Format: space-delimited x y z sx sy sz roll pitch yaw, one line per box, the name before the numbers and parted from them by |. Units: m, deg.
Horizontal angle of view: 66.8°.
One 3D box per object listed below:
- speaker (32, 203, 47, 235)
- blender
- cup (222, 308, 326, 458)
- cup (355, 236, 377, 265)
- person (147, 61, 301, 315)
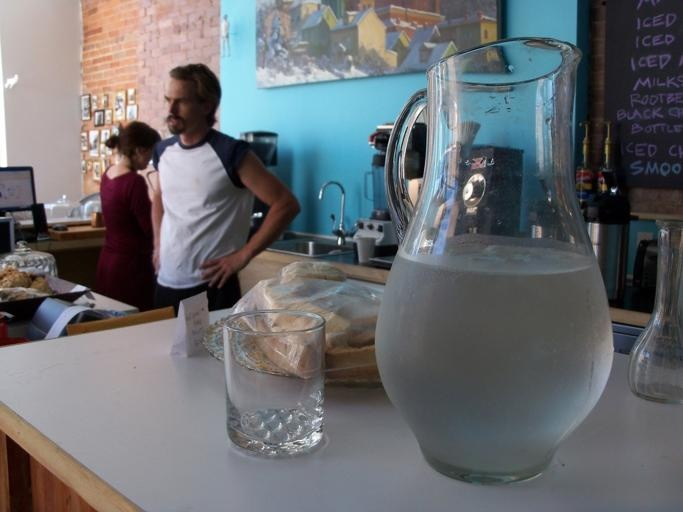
speaker | -2.094 -0.245 3.601 0.085 0.236 0.244 -6 11 -31
blender | 0.278 -0.345 2.968 0.376 0.702 0.350 12 11 30
cup | -0.076 0.160 0.684 0.141 0.164 0.145 0 4 0
cup | 0.124 -0.028 2.785 0.110 0.130 0.114 0 10 0
person | -0.567 -0.294 2.279 0.697 1.085 0.374 5 11 29
